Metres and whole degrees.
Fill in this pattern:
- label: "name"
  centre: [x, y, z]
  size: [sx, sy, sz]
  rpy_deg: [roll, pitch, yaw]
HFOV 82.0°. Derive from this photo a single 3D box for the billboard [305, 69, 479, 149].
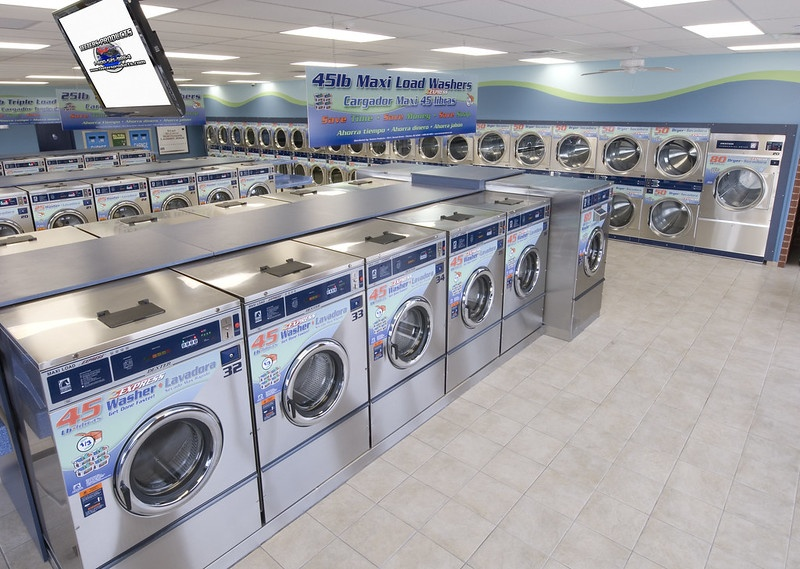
- label: "billboard"
  centre: [-0.015, -2.077, 5.330]
  size: [2.654, 0.756, 0.036]
  rpy_deg: [-19, 37, -37]
